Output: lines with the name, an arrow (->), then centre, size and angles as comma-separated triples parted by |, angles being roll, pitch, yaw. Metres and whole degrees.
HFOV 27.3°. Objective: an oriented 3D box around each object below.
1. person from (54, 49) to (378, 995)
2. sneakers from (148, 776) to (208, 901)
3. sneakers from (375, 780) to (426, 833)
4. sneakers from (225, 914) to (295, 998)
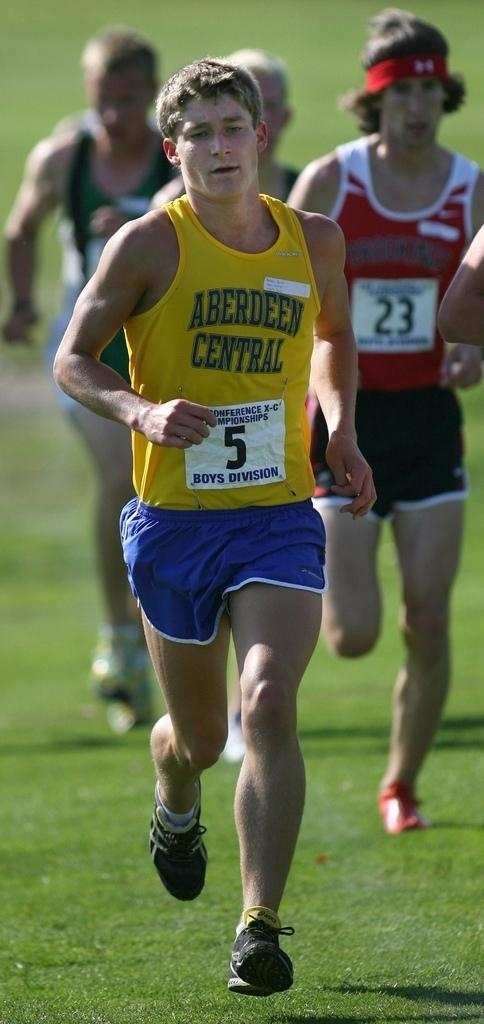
person -> -0.063, 0.014, 2.009 | 0.616, 1.605, 0.766 | -1, 0, 15
sneakers -> -0.152, 0.763, 2.407 | 0.099, 0.320, 0.138 | -4, 13, -5
sneakers -> 0.440, 0.825, 2.777 | 0.089, 0.161, 0.106 | -16, 3, 8
sneakers -> 0.029, 0.761, 1.671 | 0.099, 0.135, 0.162 | -1, 0, -2
